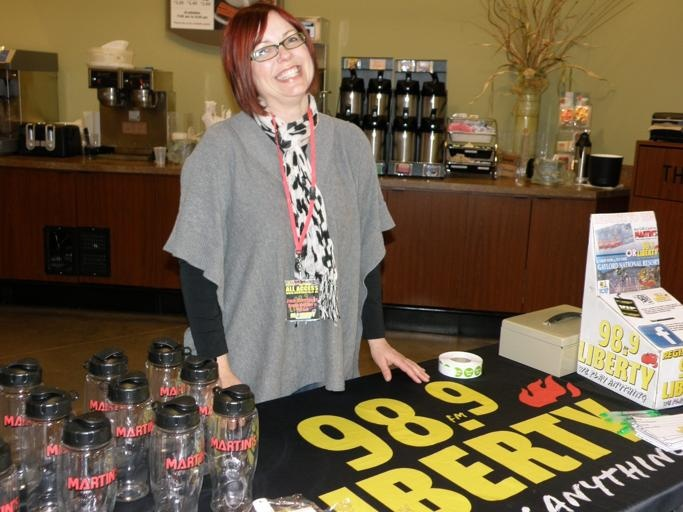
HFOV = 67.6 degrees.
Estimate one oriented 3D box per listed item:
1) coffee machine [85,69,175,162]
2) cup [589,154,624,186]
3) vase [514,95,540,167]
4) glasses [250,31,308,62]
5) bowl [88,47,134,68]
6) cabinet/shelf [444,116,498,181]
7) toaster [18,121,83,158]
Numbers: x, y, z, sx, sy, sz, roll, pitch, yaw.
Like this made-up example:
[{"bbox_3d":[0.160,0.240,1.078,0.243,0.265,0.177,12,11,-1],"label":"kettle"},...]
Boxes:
[{"bbox_3d":[-1.747,-1.195,4.277,0.538,0.604,0.558,2,7,-5],"label":"coffee machine"},{"bbox_3d":[1.832,-0.597,3.624,0.235,0.177,0.209,-1,8,-5],"label":"cup"},{"bbox_3d":[1.413,-0.953,3.907,0.172,0.567,0.511,5,13,19],"label":"vase"},{"bbox_3d":[-0.163,-0.551,1.358,0.153,0.087,0.034,-5,14,-27],"label":"glasses"},{"bbox_3d":[-1.858,-1.576,4.108,0.328,0.152,0.192,-5,14,-28],"label":"bowl"},{"bbox_3d":[1.037,-0.846,3.907,0.444,0.424,0.379,6,24,29],"label":"cabinet/shelf"},{"bbox_3d":[-2.355,-0.903,4.119,0.465,0.290,0.315,1,5,1],"label":"toaster"}]
